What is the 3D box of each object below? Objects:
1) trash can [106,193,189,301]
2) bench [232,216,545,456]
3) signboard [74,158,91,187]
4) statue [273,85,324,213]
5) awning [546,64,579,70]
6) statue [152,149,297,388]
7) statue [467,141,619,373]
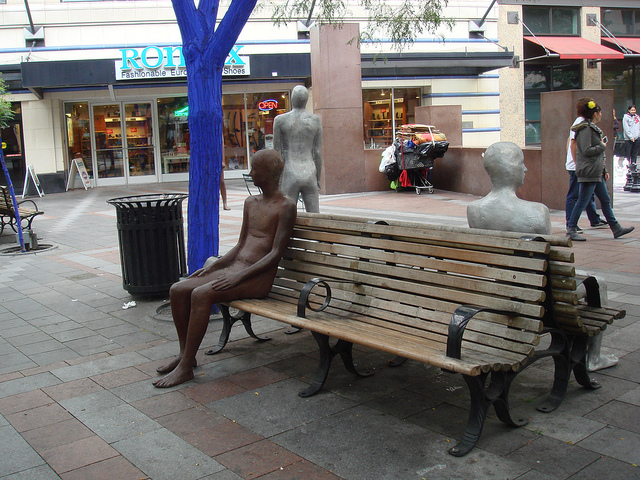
[{"bbox_3d":[-2.062,0.068,6.640,1.016,1.420,0.928,-1,3,-2],"label":"trash can"},{"bbox_3d":[0.232,0.519,4.132,1.080,1.212,2.974,-10,10,-38],"label":"bench"},{"bbox_3d":[-10.393,-2.998,22.502,0.550,1.234,0.494,5,16,34],"label":"signboard"},{"bbox_3d":[-0.323,-1.374,7.911,0.720,1.988,0.694,-1,13,-31],"label":"statue"},{"bbox_3d":[13.135,-9.268,27.030,1.578,0.246,0.222,-7,13,-20],"label":"awning"},{"bbox_3d":[-0.890,0.207,4.519,1.496,1.829,0.717,-12,16,-31],"label":"statue"},{"bbox_3d":[1.907,0.159,4.390,1.363,1.890,0.860,-7,11,-27],"label":"statue"}]
